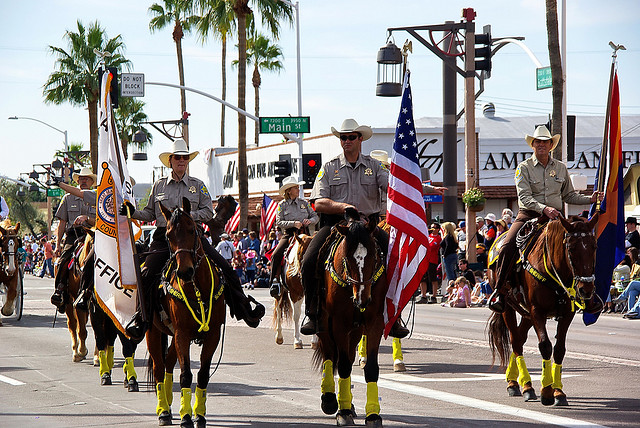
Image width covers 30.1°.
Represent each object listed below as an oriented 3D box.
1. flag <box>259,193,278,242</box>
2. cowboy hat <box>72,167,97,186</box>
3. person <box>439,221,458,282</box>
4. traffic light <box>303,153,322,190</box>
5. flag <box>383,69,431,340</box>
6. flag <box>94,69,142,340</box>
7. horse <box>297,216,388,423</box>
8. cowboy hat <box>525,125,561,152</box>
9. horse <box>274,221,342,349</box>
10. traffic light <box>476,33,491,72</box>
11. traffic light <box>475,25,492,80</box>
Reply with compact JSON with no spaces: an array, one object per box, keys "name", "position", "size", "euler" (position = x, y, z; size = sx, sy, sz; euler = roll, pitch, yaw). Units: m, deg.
[{"name":"flag","position":[-1.793,0.094,41.075],"size":[0.644,1.815,0.249],"euler":[8,28,-4]},{"name":"cowboy hat","position":[-5.124,-0.889,25.901],"size":[0.441,0.196,0.501],"euler":[1,-14,-10]},{"name":"person","position":[3.840,1.117,35.737],"size":[0.529,1.785,0.792],"euler":[-1,1,6]},{"name":"traffic light","position":[-0.309,-1.715,40.364],"size":[0.671,0.215,1.150],"euler":[1,-30,-1]},{"name":"flag","position":[1.631,-0.423,21.483],"size":[0.806,4.710,0.998],"euler":[-7,14,-26]},{"name":"flag","position":[-3.853,-0.262,22.097],"size":[0.521,3.930,1.032],"euler":[-2,1,-40]},{"name":"horse","position":[0.537,1.841,21.071],"size":[0.852,2.447,1.713],"euler":[-2,1,-29]},{"name":"cowboy hat","position":[4.344,-1.583,23.228],"size":[0.521,0.250,0.607],"euler":[3,-16,8]},{"name":"horse","position":[-0.488,1.719,27.235],"size":[0.979,2.517,3.961],"euler":[-3,-1,-11]},{"name":"traffic light","position":[4.940,-4.974,36.415],"size":[0.404,1.152,0.467],"euler":[-2,1,-35]},{"name":"traffic light","position":[4.994,-4.854,36.434],"size":[0.533,0.926,0.334],"euler":[-1,1,8]}]
